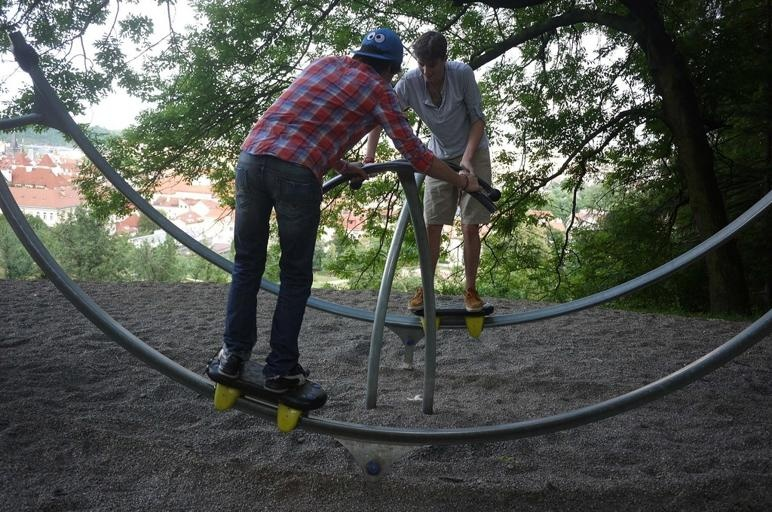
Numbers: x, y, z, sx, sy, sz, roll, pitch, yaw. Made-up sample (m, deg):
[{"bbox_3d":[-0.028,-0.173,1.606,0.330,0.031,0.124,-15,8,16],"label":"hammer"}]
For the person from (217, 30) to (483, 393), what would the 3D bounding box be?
[{"bbox_3d":[-0.474,-0.293,4.291,1.449,2.336,0.419,0,-8,2],"label":"person"}]

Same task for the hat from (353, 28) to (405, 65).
[{"bbox_3d":[-0.033,-1.354,4.252,0.205,0.154,0.278,23,31,18],"label":"hat"}]

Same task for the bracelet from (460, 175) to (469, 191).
[{"bbox_3d":[0.524,-0.496,4.449,0.052,0.100,0.072,4,16,-7],"label":"bracelet"}]

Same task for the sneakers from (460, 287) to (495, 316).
[{"bbox_3d":[0.709,0.367,5.395,0.138,0.131,0.303,-1,1,-9],"label":"sneakers"}]

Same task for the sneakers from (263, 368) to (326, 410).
[{"bbox_3d":[-0.576,0.861,4.293,0.400,0.146,0.221,27,33,-7],"label":"sneakers"}]

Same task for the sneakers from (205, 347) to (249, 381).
[{"bbox_3d":[-1.048,0.710,4.310,0.149,0.131,0.296,8,8,-43],"label":"sneakers"}]
